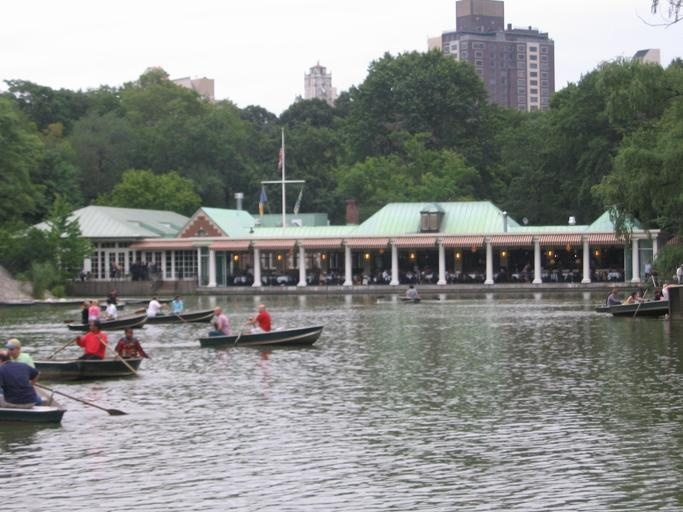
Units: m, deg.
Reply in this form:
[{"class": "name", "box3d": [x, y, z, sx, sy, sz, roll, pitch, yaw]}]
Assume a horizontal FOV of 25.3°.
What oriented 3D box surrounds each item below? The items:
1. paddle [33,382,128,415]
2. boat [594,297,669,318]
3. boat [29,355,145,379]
[{"class": "paddle", "box3d": [-12.437, 6.779, 71.403, 2.820, 0.397, 0.200, 24, 42, 3]}, {"class": "boat", "box3d": [17.682, 3.239, 91.014, 1.178, 0.743, 4.303, 13, -12, -43]}, {"class": "boat", "box3d": [-12.893, 5.668, 73.423, 4.383, 1.130, 3.561, 0, 1, -1]}]
